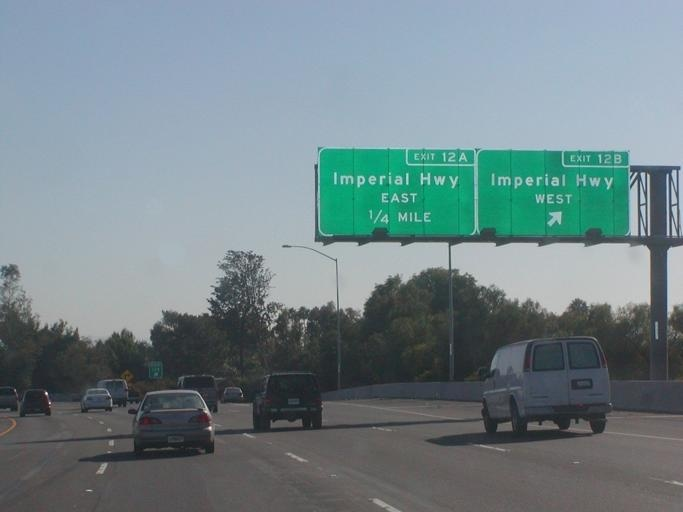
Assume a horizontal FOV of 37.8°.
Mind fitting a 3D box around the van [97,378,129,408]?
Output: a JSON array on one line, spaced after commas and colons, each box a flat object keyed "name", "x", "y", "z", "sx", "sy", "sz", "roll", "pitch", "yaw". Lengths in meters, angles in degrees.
[{"name": "van", "x": -15.704, "y": 9.446, "z": 69.811, "sx": 1.237, "sy": 1.591, "sz": 2.453, "roll": 0, "pitch": -2, "yaw": -10}]

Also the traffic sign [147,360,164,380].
[{"name": "traffic sign", "x": -17.862, "y": 10.845, "z": 95.983, "sx": 0.755, "sy": 1.610, "sz": 1.902, "roll": -3, "pitch": -9, "yaw": 17}]
